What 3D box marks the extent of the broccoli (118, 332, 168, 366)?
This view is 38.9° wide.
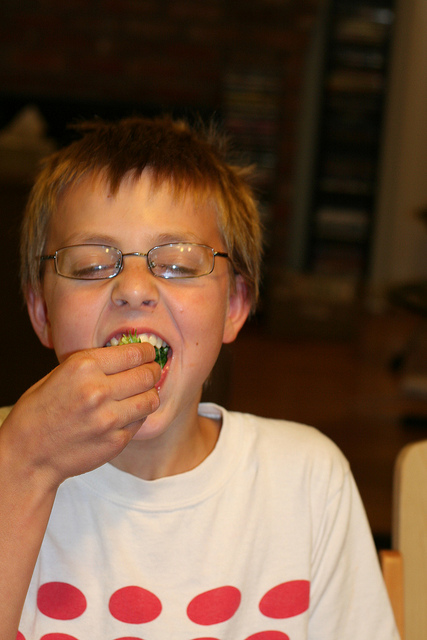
[{"bbox_3d":[-0.094,0.045,0.890,0.051,0.026,0.052,3,52,-14],"label":"broccoli"}]

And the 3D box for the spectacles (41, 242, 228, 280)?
[{"bbox_3d":[-0.110,-0.086,0.868,0.233,0.052,0.067,-2,15,-8],"label":"spectacles"}]

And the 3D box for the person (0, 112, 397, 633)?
[{"bbox_3d":[-0.089,0.049,0.985,0.541,0.743,0.667,-6,17,-19],"label":"person"}]
